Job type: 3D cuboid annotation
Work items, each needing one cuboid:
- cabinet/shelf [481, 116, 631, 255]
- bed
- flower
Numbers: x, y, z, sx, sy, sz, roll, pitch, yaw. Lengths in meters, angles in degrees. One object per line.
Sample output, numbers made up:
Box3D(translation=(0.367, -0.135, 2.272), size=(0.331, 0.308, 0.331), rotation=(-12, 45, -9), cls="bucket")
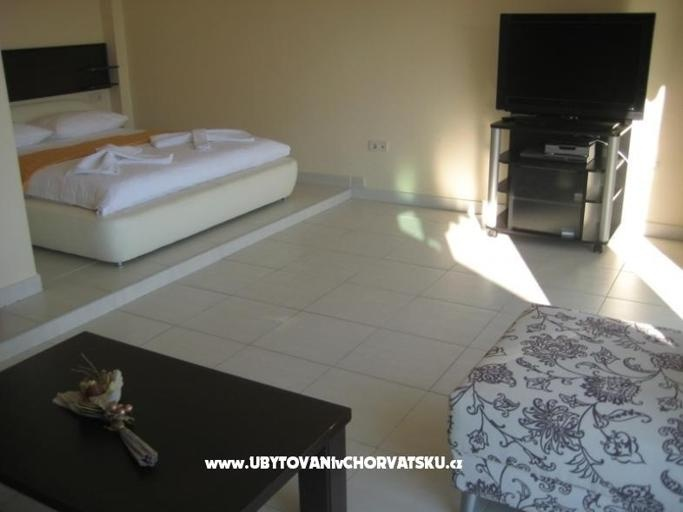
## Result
Box3D(translation=(1.814, -0.636, 4.400), size=(1.241, 1.116, 0.969), rotation=(6, 15, 31), cls="cabinet/shelf")
Box3D(translation=(-1.644, -0.638, 4.325), size=(1.305, 0.770, 2.112), rotation=(18, 30, 37), cls="bed")
Box3D(translation=(-0.854, 0.563, 1.720), size=(0.455, 0.173, 0.212), rotation=(39, 34, 20), cls="flower")
